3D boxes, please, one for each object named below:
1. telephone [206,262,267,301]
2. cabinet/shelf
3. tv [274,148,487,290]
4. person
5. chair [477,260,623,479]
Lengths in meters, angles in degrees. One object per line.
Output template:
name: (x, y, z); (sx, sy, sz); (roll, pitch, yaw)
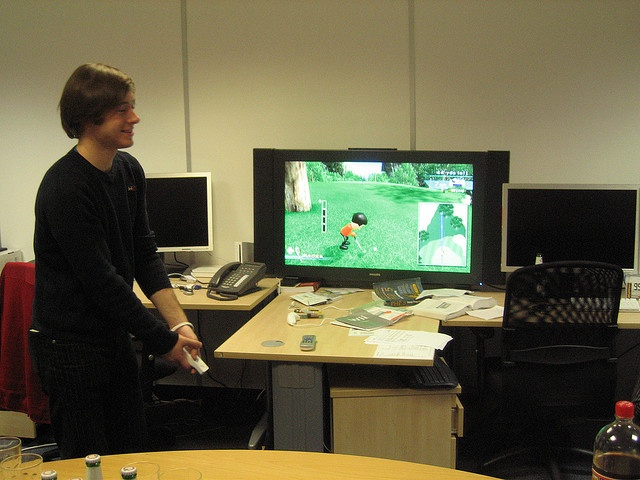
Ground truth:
telephone: (-0.498, 0.225, 3.350); (0.374, 0.146, 0.434); (-7, 9, -15)
cabinet/shelf: (0.354, 0.702, 2.748); (0.438, 0.565, 0.592); (-2, 2, 3)
tv: (0.400, -0.152, 3.405); (0.858, 0.607, 0.251); (1, 2, 6)
person: (-0.850, 0.100, 2.266); (0.616, 1.583, 0.404); (-5, 4, -28)
chair: (1.184, 0.672, 2.912); (0.645, 1.171, 0.591); (-4, 3, -17)
